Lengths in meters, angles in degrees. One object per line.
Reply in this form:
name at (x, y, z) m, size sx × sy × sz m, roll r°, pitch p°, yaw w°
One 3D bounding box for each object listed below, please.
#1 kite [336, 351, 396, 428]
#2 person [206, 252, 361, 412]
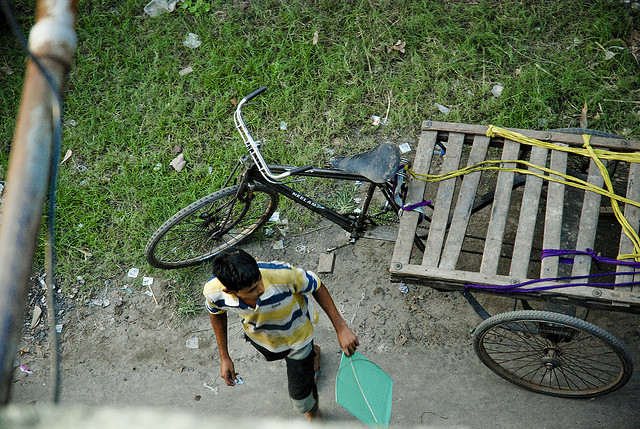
kite at (0.353, 1.335, 4.232) m, size 0.513 × 0.227 × 0.414 m, roll 29°, pitch 74°, yaw 16°
person at (-0.347, 0.898, 4.342) m, size 0.995 × 1.295 × 1.054 m, roll -38°, pitch 69°, yaw -8°
